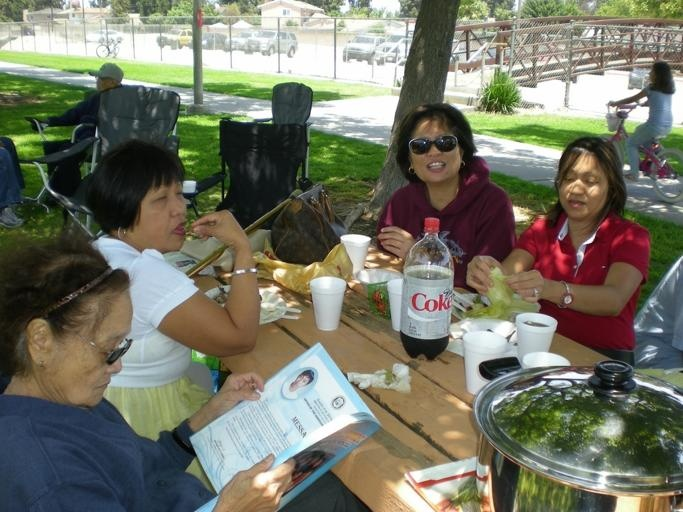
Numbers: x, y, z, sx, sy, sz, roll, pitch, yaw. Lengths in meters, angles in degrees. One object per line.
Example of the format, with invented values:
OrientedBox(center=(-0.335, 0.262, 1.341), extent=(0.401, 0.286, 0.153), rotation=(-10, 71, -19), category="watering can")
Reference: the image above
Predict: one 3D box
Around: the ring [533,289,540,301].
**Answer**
OrientedBox(center=(0.904, 0.183, 2.276), extent=(0.036, 0.053, 0.018), rotation=(-5, -4, 23), category="ring")

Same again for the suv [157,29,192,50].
OrientedBox(center=(-13.264, -17.160, 39.130), extent=(2.292, 1.487, 1.655), rotation=(1, 18, -5), category="suv")

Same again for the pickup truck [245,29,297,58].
OrientedBox(center=(-4.942, -15.197, 35.134), extent=(2.434, 2.041, 6.963), rotation=(-7, 21, -26), category="pickup truck")

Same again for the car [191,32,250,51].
OrientedBox(center=(-8.719, -16.114, 36.805), extent=(3.316, 1.477, 2.166), rotation=(-3, 19, -17), category="car")

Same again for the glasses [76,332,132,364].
OrientedBox(center=(-0.651, 0.264, 1.322), extent=(0.080, 0.024, 0.079), rotation=(33, 5, -2), category="glasses")

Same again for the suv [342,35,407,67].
OrientedBox(center=(1.905, -12.121, 28.973), extent=(1.252, 1.669, 5.322), rotation=(-10, 23, -34), category="suv")

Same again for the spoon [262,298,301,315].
OrientedBox(center=(-0.297, 0.247, 2.326), extent=(0.116, 0.019, 0.086), rotation=(17, 19, 15), category="spoon")
